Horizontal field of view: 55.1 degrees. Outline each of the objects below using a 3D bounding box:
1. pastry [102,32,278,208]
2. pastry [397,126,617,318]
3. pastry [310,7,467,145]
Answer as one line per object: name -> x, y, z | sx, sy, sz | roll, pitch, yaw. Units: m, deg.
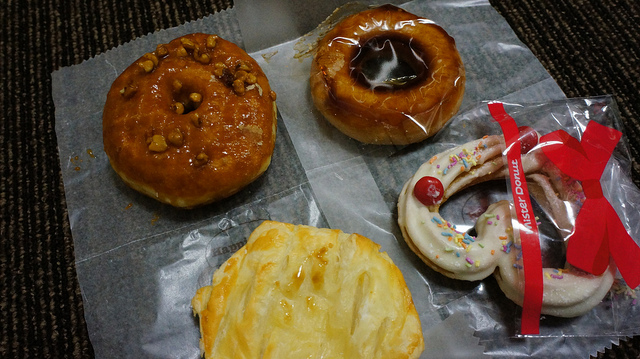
pastry -> -0.625, -0.328, 2.960 | 0.838, 0.316, 0.932 | -9, 64, -7
pastry -> 0.779, 0.195, 2.879 | 0.913, 0.249, 0.858 | 24, 65, 13
pastry -> 0.321, -0.454, 3.076 | 0.634, 0.232, 0.632 | 29, 70, 13
